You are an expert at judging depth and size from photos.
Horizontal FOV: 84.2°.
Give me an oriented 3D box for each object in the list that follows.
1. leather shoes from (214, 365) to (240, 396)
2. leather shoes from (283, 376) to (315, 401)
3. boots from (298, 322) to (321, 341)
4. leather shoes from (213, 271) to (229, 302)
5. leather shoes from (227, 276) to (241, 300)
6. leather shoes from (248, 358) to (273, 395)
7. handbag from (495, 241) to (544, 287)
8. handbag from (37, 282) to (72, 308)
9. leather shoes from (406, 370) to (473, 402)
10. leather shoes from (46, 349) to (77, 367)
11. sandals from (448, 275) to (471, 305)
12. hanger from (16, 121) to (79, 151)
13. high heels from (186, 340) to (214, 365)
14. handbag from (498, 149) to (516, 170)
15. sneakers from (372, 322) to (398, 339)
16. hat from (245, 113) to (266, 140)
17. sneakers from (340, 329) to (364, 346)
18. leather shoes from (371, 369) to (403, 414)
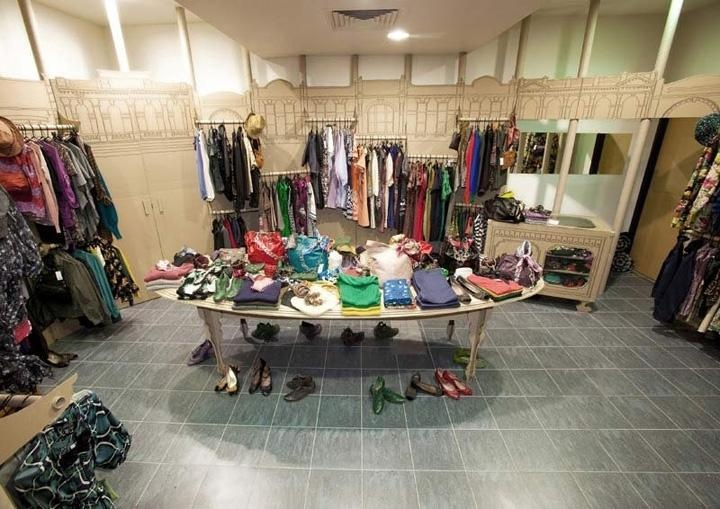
[{"bbox_3d":[-1.414,1.363,4.334,0.209,0.123,0.307,8,49,18],"label":"leather shoes"},{"bbox_3d":[-0.659,1.426,4.292,0.269,0.104,0.201,-4,34,-17],"label":"leather shoes"},{"bbox_3d":[-0.609,0.907,5.038,0.137,0.242,0.329,10,29,28],"label":"boots"},{"bbox_3d":[-1.391,0.313,4.006,0.103,0.125,0.301,0,50,-4],"label":"leather shoes"},{"bbox_3d":[-1.276,0.330,4.037,0.100,0.098,0.247,0,37,-7],"label":"leather shoes"},{"bbox_3d":[-1.095,1.329,4.372,0.192,0.130,0.330,-1,42,-8],"label":"leather shoes"},{"bbox_3d":[1.825,0.101,4.502,0.529,0.506,0.311,12,12,31],"label":"handbag"},{"bbox_3d":[-3.681,0.464,4.796,0.359,0.300,0.099,-2,20,-2],"label":"handbag"},{"bbox_3d":[0.865,1.415,4.306,0.451,0.118,0.295,-5,22,-15],"label":"leather shoes"},{"bbox_3d":[-3.507,1.214,4.719,0.189,0.073,0.244,3,5,0],"label":"leather shoes"},{"bbox_3d":[1.010,0.350,4.051,0.092,0.082,0.338,14,22,-11],"label":"sandals"},{"bbox_3d":[-3.725,-1.479,4.825,0.629,0.284,0.504,-18,26,-39],"label":"hanger"},{"bbox_3d":[-1.863,1.131,4.818,0.159,0.191,0.484,3,13,18],"label":"high heels"},{"bbox_3d":[2.093,-1.343,5.632,0.211,0.257,0.094,0,8,-8],"label":"handbag"},{"bbox_3d":[0.283,0.929,5.092,0.380,0.267,0.138,-4,30,-10],"label":"sneakers"},{"bbox_3d":[-1.515,-1.831,5.683,0.261,0.340,0.199,10,23,28],"label":"hat"},{"bbox_3d":[-0.047,0.985,4.968,0.366,0.177,0.132,-13,15,-24],"label":"sneakers"},{"bbox_3d":[0.237,1.467,4.226,0.244,0.131,0.305,-5,11,-9],"label":"leather shoes"}]
